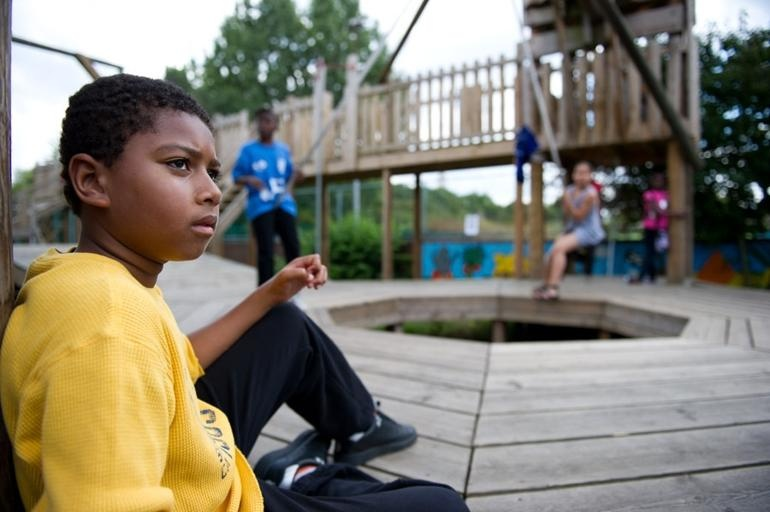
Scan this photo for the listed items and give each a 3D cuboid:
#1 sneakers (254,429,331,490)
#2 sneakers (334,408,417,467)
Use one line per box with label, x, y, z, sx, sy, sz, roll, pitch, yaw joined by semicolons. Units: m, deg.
sneakers;-0.211;0.477;1.582;0.076;0.092;0.222;31;10;13
sneakers;-0.023;0.446;1.641;0.202;0.139;0.091;-18;11;-16
